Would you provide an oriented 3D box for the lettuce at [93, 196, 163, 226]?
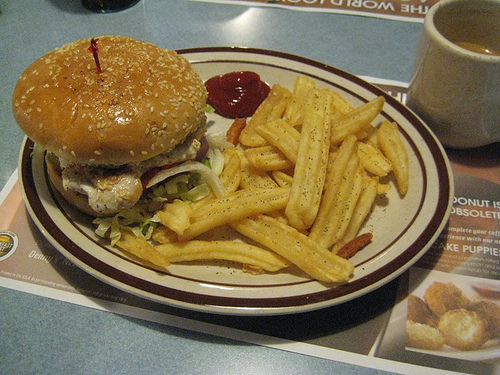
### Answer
[{"bbox_3d":[-0.520,0.095,2.061,0.199,0.063,0.151,21,37,24],"label":"lettuce"}]

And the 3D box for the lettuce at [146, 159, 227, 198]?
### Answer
[{"bbox_3d":[-0.301,-0.065,2.072,0.344,0.213,0.169,-11,110,-35],"label":"lettuce"}]

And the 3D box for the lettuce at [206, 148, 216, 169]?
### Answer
[{"bbox_3d":[-0.199,-0.159,2.290,0.050,0.019,0.079,-2,67,-14],"label":"lettuce"}]
